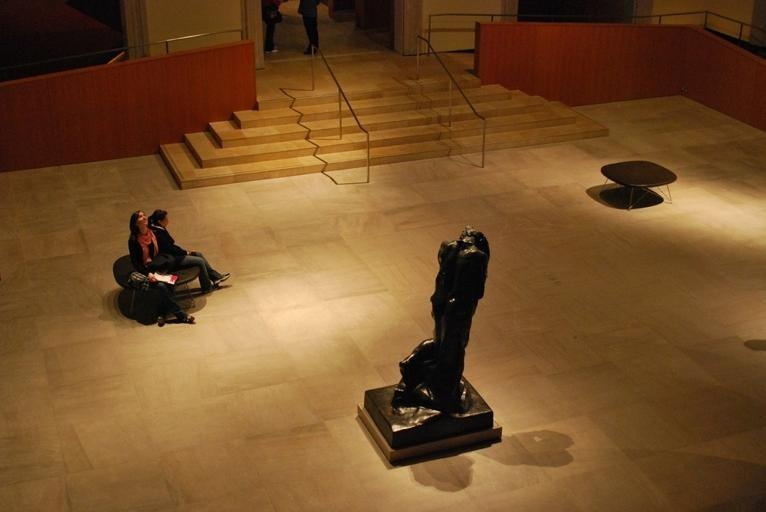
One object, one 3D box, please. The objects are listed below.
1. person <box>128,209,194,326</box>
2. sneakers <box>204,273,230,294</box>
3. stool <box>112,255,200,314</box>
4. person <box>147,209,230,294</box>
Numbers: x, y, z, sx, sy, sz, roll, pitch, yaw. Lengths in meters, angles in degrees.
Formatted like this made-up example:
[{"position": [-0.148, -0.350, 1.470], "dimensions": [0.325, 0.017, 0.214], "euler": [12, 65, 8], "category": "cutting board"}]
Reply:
[{"position": [-3.342, 0.191, 8.758], "dimensions": [0.597, 1.546, 1.208], "euler": [-19, 44, -22], "category": "person"}, {"position": [-2.662, 0.396, 9.541], "dimensions": [0.178, 0.204, 0.526], "euler": [29, 44, 36], "category": "sneakers"}, {"position": [-3.676, 0.472, 9.375], "dimensions": [1.304, 0.600, 0.903], "euler": [-13, 51, -21], "category": "stool"}, {"position": [-3.148, -0.022, 9.710], "dimensions": [1.445, 1.450, 0.568], "euler": [-7, 43, -16], "category": "person"}]
